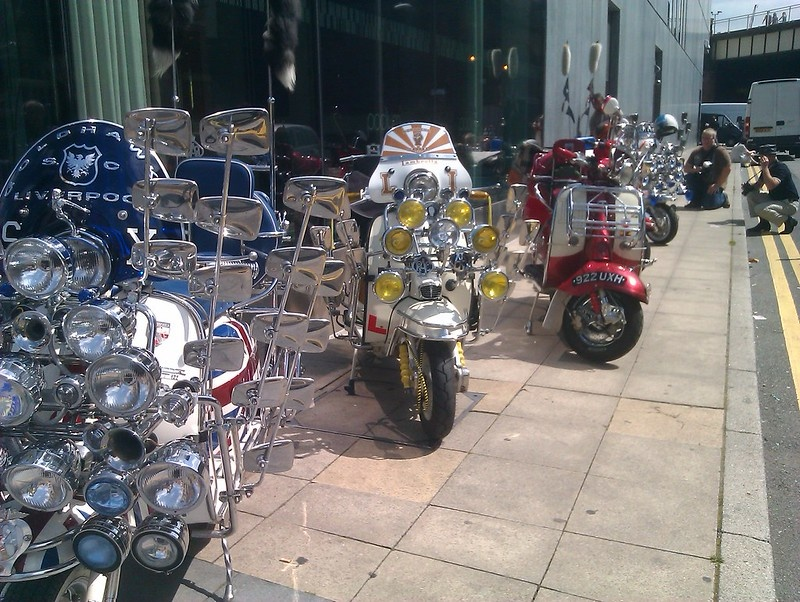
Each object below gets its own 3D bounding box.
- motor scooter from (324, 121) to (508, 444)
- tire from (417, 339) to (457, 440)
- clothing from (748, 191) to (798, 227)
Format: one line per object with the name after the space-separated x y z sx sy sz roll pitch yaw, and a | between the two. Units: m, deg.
0.163 -0.178 4.918 0.957 2.172 1.324 -10 18 -25 | motor scooter
0.272 0.642 4.650 0.240 0.737 0.380 -5 17 -11 | tire
7.271 -1.966 12.947 0.699 0.465 0.959 -11 11 6 | clothing
